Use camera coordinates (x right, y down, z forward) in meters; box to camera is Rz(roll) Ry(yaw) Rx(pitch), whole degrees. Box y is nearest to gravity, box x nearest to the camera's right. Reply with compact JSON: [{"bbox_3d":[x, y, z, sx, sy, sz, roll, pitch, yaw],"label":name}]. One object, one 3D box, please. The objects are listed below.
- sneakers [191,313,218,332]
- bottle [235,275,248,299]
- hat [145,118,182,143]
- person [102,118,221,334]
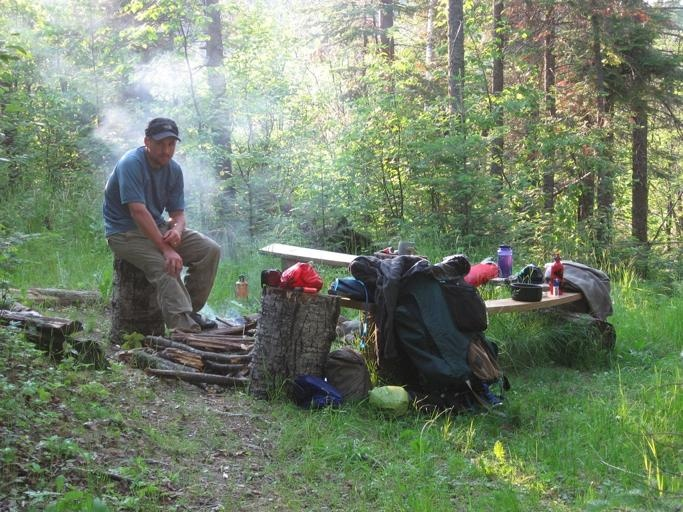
[{"bbox_3d":[-1.677,0.803,8.610,0.282,0.140,0.155,33,3,-10],"label":"sneakers"},{"bbox_3d":[-1.451,0.468,10.373,0.204,0.335,0.179,5,-2,-29],"label":"bottle"},{"bbox_3d":[-2.080,-1.455,8.170,0.369,0.196,0.271,8,8,44],"label":"hat"},{"bbox_3d":[-2.177,-0.375,8.383,1.323,2.427,0.744,4,-2,7],"label":"person"}]
